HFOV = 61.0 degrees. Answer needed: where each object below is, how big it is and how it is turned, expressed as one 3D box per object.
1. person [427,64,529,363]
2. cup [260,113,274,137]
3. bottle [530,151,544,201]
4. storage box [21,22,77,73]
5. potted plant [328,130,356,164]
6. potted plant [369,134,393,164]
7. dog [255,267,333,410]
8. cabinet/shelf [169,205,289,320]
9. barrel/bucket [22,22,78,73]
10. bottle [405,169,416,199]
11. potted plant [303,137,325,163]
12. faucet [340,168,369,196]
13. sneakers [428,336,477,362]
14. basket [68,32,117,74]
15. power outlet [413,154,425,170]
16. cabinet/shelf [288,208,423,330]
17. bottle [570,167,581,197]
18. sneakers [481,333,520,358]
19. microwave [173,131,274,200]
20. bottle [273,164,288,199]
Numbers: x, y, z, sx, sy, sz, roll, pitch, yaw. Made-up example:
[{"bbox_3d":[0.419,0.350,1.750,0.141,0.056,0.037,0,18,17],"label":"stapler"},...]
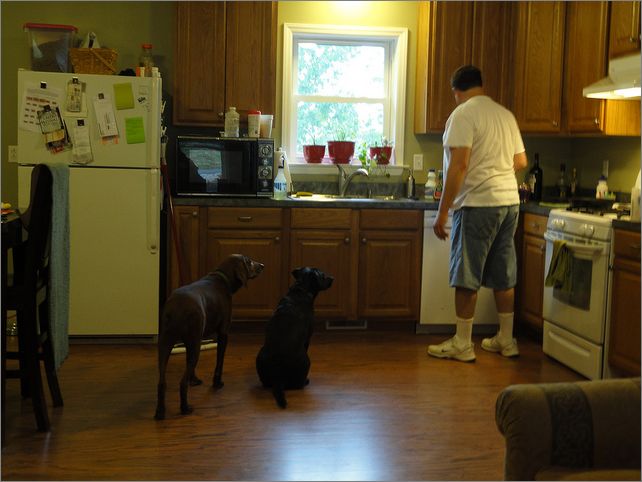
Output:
[{"bbox_3d":[1.085,-0.177,3.704,0.664,1.968,0.292,-2,8,-19],"label":"person"},{"bbox_3d":[-0.419,-0.891,4.180,0.130,0.169,0.142,0,4,0],"label":"cup"},{"bbox_3d":[1.846,-0.553,4.665,0.119,0.391,0.235,4,9,22],"label":"bottle"},{"bbox_3d":[-1.912,-1.328,3.956,0.379,0.383,0.332,1,7,0],"label":"storage box"},{"bbox_3d":[0.160,-0.787,4.637,0.215,0.286,0.241,1,0,-4],"label":"potted plant"},{"bbox_3d":[0.515,-0.788,4.666,0.160,0.260,0.208,6,10,31],"label":"potted plant"},{"bbox_3d":[-0.174,0.531,3.213,0.343,0.674,0.433,2,8,9],"label":"dog"},{"bbox_3d":[-0.574,-0.035,4.343,1.119,1.248,0.695,-1,3,-5],"label":"cabinet/shelf"},{"bbox_3d":[-1.880,-1.333,3.905,0.381,0.383,0.331,1,6,-3],"label":"barrel/bucket"},{"bbox_3d":[0.756,-0.482,4.579,0.083,0.236,0.246,2,9,9],"label":"bottle"},{"bbox_3d":[-0.071,-0.769,4.562,0.141,0.124,0.156,0,5,2],"label":"potted plant"},{"bbox_3d":[0.267,-0.478,4.494,0.242,0.235,0.332,1,9,2],"label":"faucet"},{"bbox_3d":[0.918,0.751,3.804,0.315,0.181,0.140,5,4,20],"label":"sneakers"},{"bbox_3d":[-1.596,-1.330,3.947,0.310,0.362,0.257,0,8,-4],"label":"basket"},{"bbox_3d":[0.828,-0.678,4.669,0.117,0.214,0.023,0,3,-10],"label":"power outlet"},{"bbox_3d":[0.224,0.135,4.435,1.228,1.246,0.717,0,3,-4],"label":"cabinet/shelf"},{"bbox_3d":[2.155,-0.503,4.618,0.067,0.222,0.234,4,9,25],"label":"bottle"},{"bbox_3d":[1.279,0.712,3.926,0.112,0.161,0.301,-3,9,-27],"label":"sneakers"},{"bbox_3d":[-0.735,-0.542,4.025,0.622,0.463,0.425,0,2,-8],"label":"microwave"},{"bbox_3d":[-0.310,-0.450,4.146,0.095,0.246,0.252,0,9,-3],"label":"bottle"}]
